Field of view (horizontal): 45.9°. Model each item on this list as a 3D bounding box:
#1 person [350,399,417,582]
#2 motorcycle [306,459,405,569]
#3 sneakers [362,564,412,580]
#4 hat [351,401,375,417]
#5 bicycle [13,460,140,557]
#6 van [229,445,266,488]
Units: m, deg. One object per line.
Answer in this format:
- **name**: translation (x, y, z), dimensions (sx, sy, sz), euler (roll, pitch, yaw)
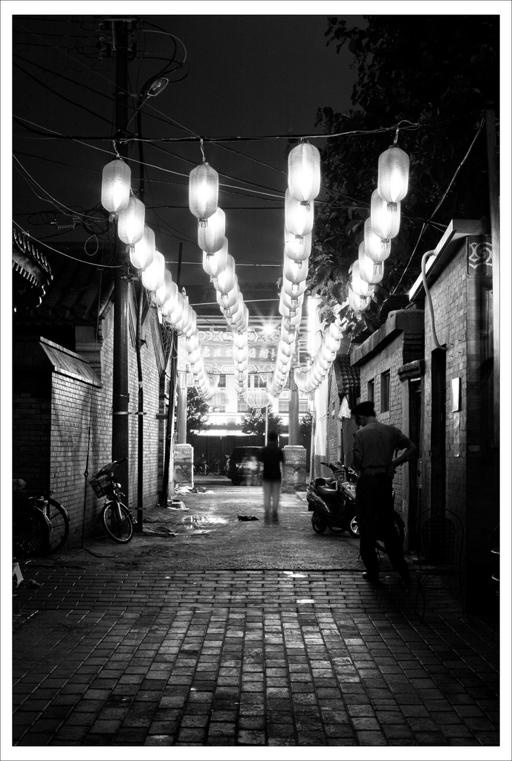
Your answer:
- **person**: translation (1.465, 1.409, 7.116), dimensions (0.665, 1.862, 0.491), euler (0, -4, 2)
- **motorcycle**: translation (1.635, 2.288, 11.666), dimensions (0.793, 1.257, 1.556), euler (9, -17, -24)
- **sneakers**: translation (1.516, 2.255, 7.049), dimensions (0.540, 0.164, 0.290), euler (-2, -7, 16)
- **hat**: translation (1.397, 0.358, 7.703), dimensions (0.191, 0.282, 0.185), euler (-3, 4, -8)
- **bicycle**: translation (-2.811, 1.996, 9.256), dimensions (1.462, 1.281, 0.846), euler (-4, 4, -18)
- **van**: translation (-0.549, 4.126, 29.306), dimensions (1.043, 1.430, 2.227), euler (1, 1, 4)
